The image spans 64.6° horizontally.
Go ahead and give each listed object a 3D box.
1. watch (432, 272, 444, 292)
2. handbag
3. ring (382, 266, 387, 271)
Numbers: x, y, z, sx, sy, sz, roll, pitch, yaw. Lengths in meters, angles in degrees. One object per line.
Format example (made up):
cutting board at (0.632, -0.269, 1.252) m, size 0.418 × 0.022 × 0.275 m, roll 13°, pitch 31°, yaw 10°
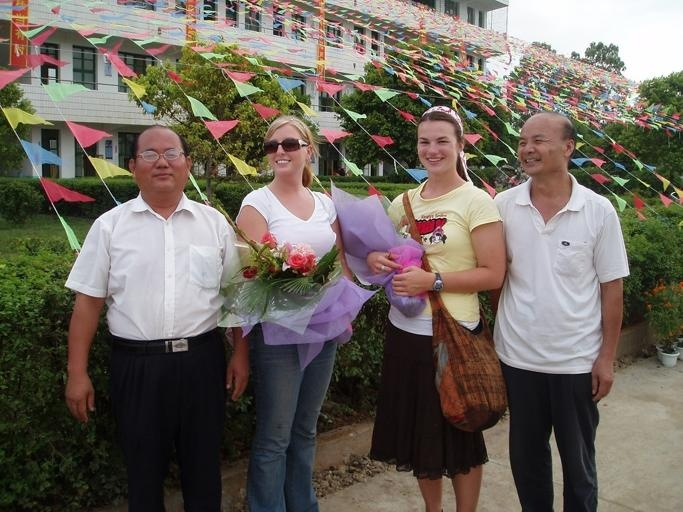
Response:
watch at (0.571, 0.159, 3.211) m, size 0.063 × 0.106 × 0.096 m, roll 1°, pitch 13°, yaw -8°
handbag at (0.778, 0.679, 3.235) m, size 0.444 × 0.694 × 0.346 m, roll -2°, pitch 17°, yaw -18°
ring at (0.262, 0.075, 3.293) m, size 0.032 × 0.032 × 0.012 m, roll -2°, pitch 1°, yaw 31°
